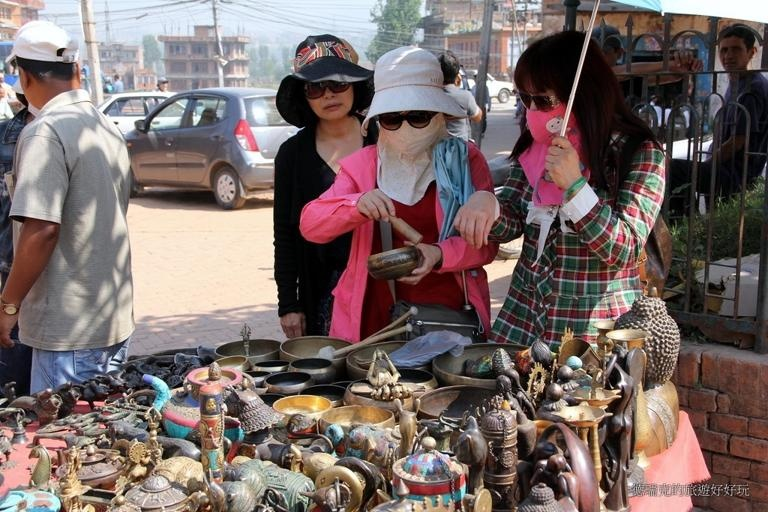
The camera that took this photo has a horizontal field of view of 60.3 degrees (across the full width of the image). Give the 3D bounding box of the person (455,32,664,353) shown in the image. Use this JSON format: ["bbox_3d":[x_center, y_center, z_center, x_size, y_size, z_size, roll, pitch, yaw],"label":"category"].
[{"bbox_3d":[0.804,-0.286,2.958,0.786,1.414,0.576,3,8,30],"label":"person"}]

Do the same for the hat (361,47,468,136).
[{"bbox_3d":[0.125,-0.766,3.103,0.392,0.242,0.361,-7,11,-35],"label":"hat"}]

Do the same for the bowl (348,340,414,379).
[{"bbox_3d":[-0.037,0.413,2.780,0.228,0.150,0.442,0,6,7],"label":"bowl"}]

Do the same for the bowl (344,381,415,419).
[{"bbox_3d":[-0.056,0.552,2.469,0.197,0.071,0.195,18,0,0],"label":"bowl"}]

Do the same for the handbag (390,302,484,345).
[{"bbox_3d":[0.278,0.299,3.122,0.307,0.110,0.224,3,2,-1],"label":"handbag"}]

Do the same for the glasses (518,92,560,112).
[{"bbox_3d":[0.677,-0.679,2.887,0.109,0.034,0.103,-2,18,-37],"label":"glasses"}]

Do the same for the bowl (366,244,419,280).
[{"bbox_3d":[0.043,0.028,2.919,0.173,0.102,0.155,-19,-4,4],"label":"bowl"}]

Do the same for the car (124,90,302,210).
[{"bbox_3d":[-2.974,-2.034,12.384,3.988,1.882,2.460,15,19,35],"label":"car"}]

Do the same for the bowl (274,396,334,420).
[{"bbox_3d":[-0.298,0.551,2.393,0.212,0.048,0.187,-1,6,-2],"label":"bowl"}]

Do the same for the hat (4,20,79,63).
[{"bbox_3d":[-1.719,-1.094,3.349,0.322,0.239,0.247,-4,7,-25],"label":"hat"}]

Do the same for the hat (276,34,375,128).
[{"bbox_3d":[-0.349,-1.000,3.606,0.485,0.279,0.539,-11,-29,3],"label":"hat"}]

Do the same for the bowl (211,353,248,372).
[{"bbox_3d":[-0.624,0.437,2.728,0.088,0.032,0.089,6,8,-1],"label":"bowl"}]

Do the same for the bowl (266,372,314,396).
[{"bbox_3d":[-0.371,0.493,2.579,0.192,0.054,0.157,-2,6,-8],"label":"bowl"}]

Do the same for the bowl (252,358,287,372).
[{"bbox_3d":[-0.463,0.452,2.721,0.147,0.025,0.130,-3,6,-13],"label":"bowl"}]

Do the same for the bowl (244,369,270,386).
[{"bbox_3d":[-0.498,0.485,2.654,0.078,0.037,0.158,-3,6,-17],"label":"bowl"}]
